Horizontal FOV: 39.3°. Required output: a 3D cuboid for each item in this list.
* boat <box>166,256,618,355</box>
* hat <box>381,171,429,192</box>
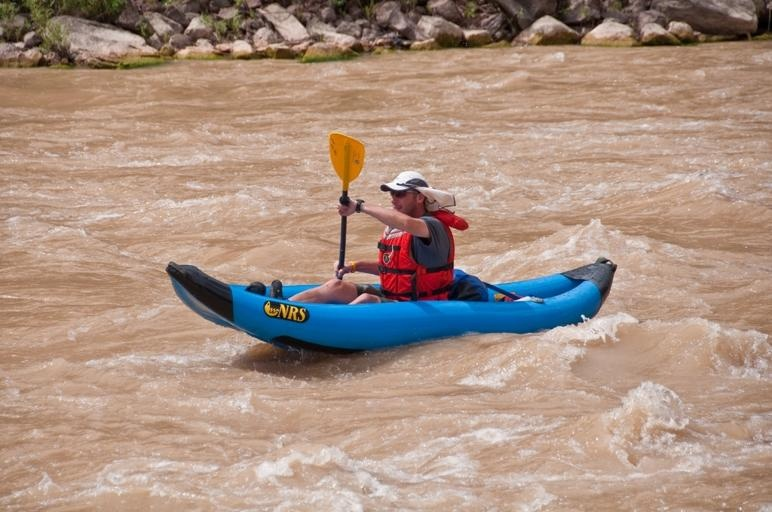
[{"bbox_3d":[-0.046,0.628,12.444,5.800,0.679,1.576,-2,8,-14],"label":"boat"},{"bbox_3d":[0.215,-0.849,12.205,0.520,0.141,0.284,0,-3,-18],"label":"hat"}]
